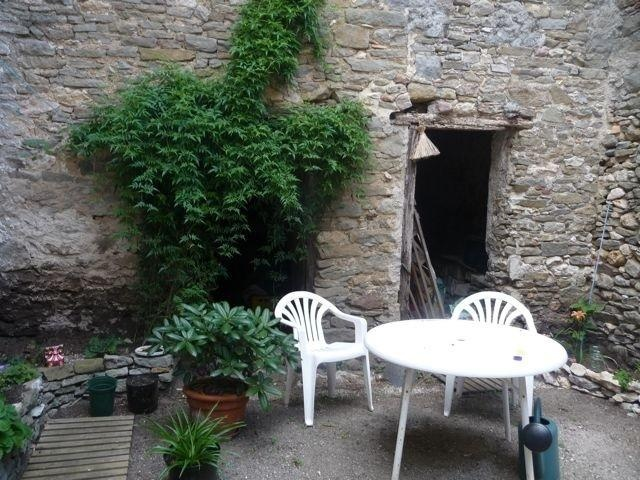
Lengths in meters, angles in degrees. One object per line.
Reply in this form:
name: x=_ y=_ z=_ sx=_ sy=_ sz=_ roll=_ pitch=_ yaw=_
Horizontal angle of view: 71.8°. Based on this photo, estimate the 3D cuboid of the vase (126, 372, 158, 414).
vase: x=-1.526 y=1.323 z=3.794 sx=0.252 sy=0.260 sz=0.272 roll=8 pitch=10 yaw=41

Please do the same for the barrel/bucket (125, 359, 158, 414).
barrel/bucket: x=-1.536 y=1.320 z=3.783 sx=0.240 sy=0.244 sz=0.257 roll=-1 pitch=6 yaw=0

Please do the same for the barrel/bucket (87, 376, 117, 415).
barrel/bucket: x=-1.817 y=1.306 z=3.684 sx=0.243 sy=0.243 sz=0.244 roll=6 pitch=11 yaw=-1

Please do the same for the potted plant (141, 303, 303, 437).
potted plant: x=-0.734 y=0.886 z=3.323 sx=1.087 sy=0.799 sz=0.968 roll=2 pitch=-4 yaw=-3

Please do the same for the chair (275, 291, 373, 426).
chair: x=0.010 y=0.973 z=3.848 sx=0.714 sy=0.950 sz=0.774 roll=-3 pitch=-2 yaw=42

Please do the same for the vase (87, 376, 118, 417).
vase: x=-1.804 y=1.318 z=3.760 sx=0.271 sy=0.290 sz=0.290 roll=1 pitch=-3 yaw=3
